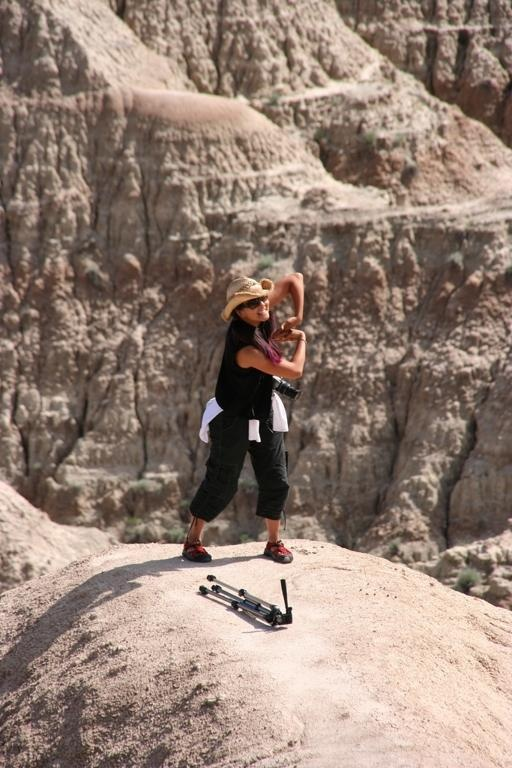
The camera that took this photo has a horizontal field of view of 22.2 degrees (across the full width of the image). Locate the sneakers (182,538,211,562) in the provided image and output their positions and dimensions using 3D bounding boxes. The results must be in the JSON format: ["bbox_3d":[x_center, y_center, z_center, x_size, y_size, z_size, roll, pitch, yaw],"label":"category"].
[{"bbox_3d":[-0.506,1.423,10.982,0.123,0.122,0.256,0,4,-42],"label":"sneakers"}]

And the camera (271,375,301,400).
[{"bbox_3d":[0.244,0.058,10.762,0.196,0.087,0.192,26,6,15],"label":"camera"}]

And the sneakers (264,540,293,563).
[{"bbox_3d":[0.181,1.427,11.039,0.110,0.130,0.283,-2,4,-35],"label":"sneakers"}]

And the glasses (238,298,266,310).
[{"bbox_3d":[-0.027,-0.620,10.411,0.202,0.128,0.073,7,6,-7],"label":"glasses"}]

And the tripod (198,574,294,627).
[{"bbox_3d":[-0.054,1.592,9.985,0.864,0.334,0.234,14,8,41],"label":"tripod"}]

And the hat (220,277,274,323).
[{"bbox_3d":[-0.081,-0.650,10.489,0.349,0.361,0.347,9,6,10],"label":"hat"}]

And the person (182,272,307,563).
[{"bbox_3d":[-0.034,0.330,10.746,0.826,2.477,0.822,7,6,-9],"label":"person"}]
